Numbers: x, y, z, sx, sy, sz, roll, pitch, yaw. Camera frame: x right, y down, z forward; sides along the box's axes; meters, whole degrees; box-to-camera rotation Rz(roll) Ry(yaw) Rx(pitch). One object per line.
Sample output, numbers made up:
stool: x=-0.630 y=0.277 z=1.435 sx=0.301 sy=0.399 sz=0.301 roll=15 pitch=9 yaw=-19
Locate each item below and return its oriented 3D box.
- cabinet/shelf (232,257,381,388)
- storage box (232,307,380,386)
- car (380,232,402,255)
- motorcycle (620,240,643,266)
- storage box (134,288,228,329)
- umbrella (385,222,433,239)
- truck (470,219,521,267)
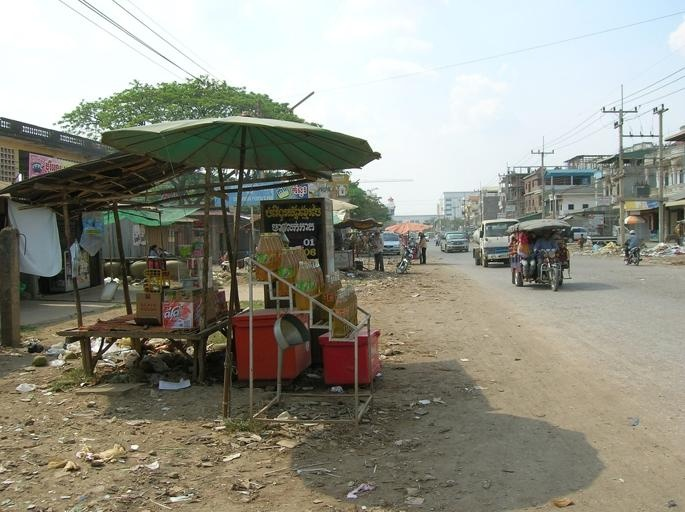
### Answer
cabinet/shelf: x=-0.446 y=0.900 z=7.482 sx=2.156 sy=1.633 sz=1.983 roll=-1 pitch=0 yaw=2
storage box: x=-0.447 y=1.200 z=7.890 sx=1.984 sy=0.711 sz=1.041 roll=-1 pitch=0 yaw=3
car: x=3.855 y=-1.000 z=47.265 sx=1.775 sy=1.204 sz=2.746 roll=-1 pitch=-2 yaw=1
motorcycle: x=13.958 y=-0.179 z=28.897 sx=1.184 sy=1.051 sz=1.971 roll=0 pitch=4 yaw=8
storage box: x=-2.337 y=0.705 z=8.047 sx=0.751 sy=0.286 sz=0.936 roll=0 pitch=2 yaw=10
umbrella: x=4.107 y=-1.627 z=32.947 sx=2.346 sy=0.641 sz=2.416 roll=-4 pitch=3 yaw=-43
truck: x=7.461 y=-0.671 z=30.724 sx=2.055 sy=1.603 sz=4.043 roll=-1 pitch=-1 yaw=-6
